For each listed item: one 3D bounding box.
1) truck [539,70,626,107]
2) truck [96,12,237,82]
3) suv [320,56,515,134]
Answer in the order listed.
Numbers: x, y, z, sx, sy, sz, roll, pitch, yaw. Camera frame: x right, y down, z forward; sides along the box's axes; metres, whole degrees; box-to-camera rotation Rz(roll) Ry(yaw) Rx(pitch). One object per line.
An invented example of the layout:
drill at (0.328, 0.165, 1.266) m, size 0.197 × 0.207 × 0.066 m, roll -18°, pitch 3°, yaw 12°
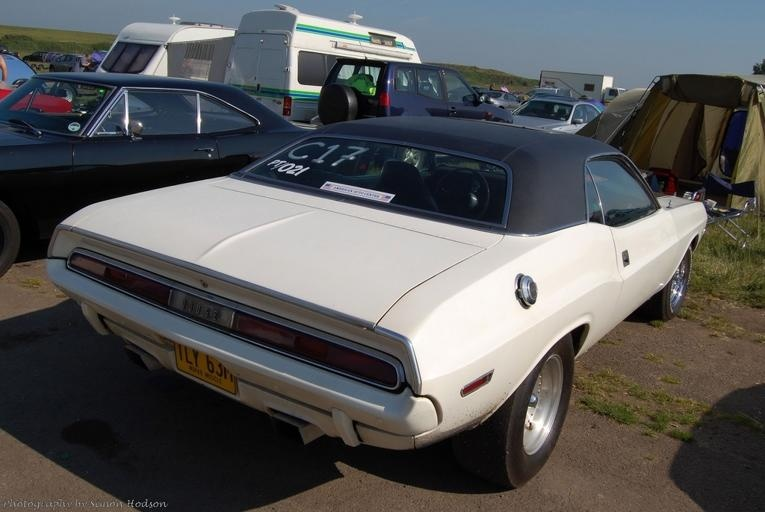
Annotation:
truck at (15.328, -13.667, 39.441) m, size 5.717 × 2.657 × 2.731 m, roll 4°, pitch 11°, yaw -7°
truck at (-6.270, -5.980, 14.372) m, size 2.029 × 1.758 × 3.668 m, roll 18°, pitch 31°, yaw 21°
suv at (1.089, -3.653, 11.931) m, size 5.085 × 2.250 × 2.294 m, roll -15°, pitch 26°, yaw -38°
